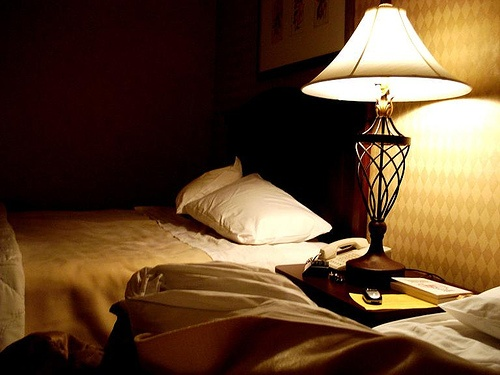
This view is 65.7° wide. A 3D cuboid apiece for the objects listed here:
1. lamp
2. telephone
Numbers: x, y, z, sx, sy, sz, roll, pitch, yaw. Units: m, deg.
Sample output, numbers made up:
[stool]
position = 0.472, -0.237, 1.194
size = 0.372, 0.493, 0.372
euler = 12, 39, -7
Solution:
[lamp]
position = 0.572, -0.186, 1.624
size = 0.616, 1.066, 0.677
euler = 1, 8, 38
[telephone]
position = 0.458, 0.307, 1.841
size = 0.372, 0.147, 0.341
euler = -13, 0, 24
